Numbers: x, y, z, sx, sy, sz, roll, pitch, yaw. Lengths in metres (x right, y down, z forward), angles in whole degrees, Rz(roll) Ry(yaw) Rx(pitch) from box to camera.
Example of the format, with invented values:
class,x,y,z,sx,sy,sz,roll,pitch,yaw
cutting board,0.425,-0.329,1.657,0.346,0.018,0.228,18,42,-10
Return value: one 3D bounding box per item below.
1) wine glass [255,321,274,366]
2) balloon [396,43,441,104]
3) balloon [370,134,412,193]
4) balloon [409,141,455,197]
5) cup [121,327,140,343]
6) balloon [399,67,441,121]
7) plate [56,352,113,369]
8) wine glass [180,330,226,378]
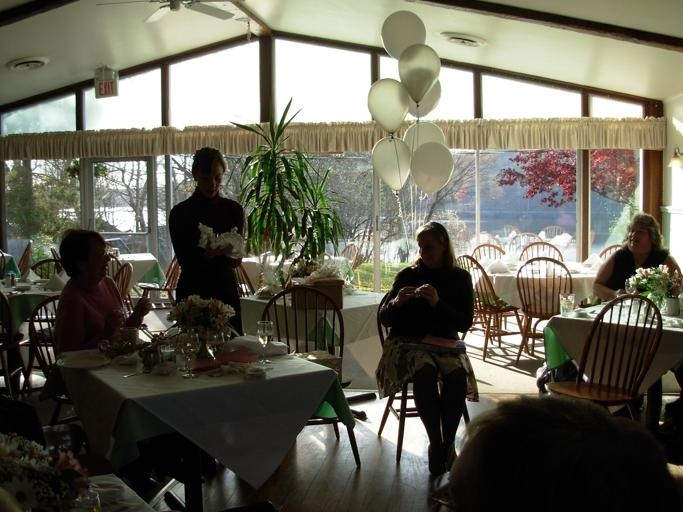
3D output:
class,x,y,z,sx,sy,sz,roll,pitch,yaw
wine glass,-0.323,0.357,2.241,0.058,0.184,0.165,0,5,-8
balloon,0.538,-1.290,3.830,0.333,0.527,0.348,0,6,3
balloon,0.436,-0.810,4.570,0.286,0.446,0.266,4,6,38
balloon,0.768,-0.773,4.582,0.369,0.429,0.261,-4,6,-43
cup,-0.908,0.337,2.296,0.058,0.060,0.033,1,12,-4
balloon,0.685,-1.400,4.585,0.294,0.391,0.127,-35,19,-21
plate,-1.074,0.431,2.234,0.104,0.012,0.109,3,7,3
wine glass,-0.565,0.374,2.128,0.137,0.213,0.221,-3,-3,41
